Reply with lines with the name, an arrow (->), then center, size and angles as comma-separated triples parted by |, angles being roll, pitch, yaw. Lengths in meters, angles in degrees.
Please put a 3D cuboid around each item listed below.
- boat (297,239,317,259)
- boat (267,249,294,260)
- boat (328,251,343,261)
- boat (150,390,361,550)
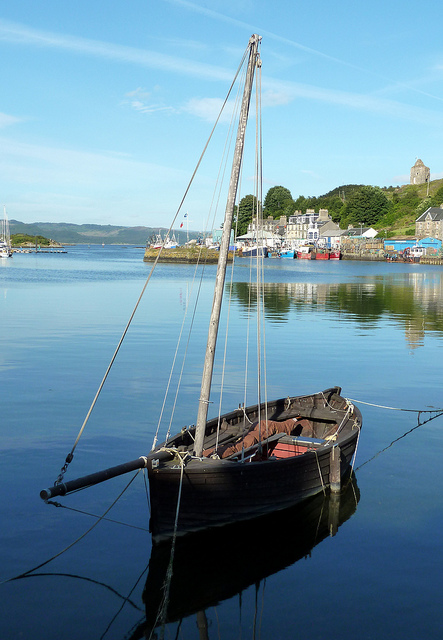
boat -> 25.855, -19.583, 163.999 | 4.848, 3.273, 8.549 | 4, 28, 12
boat -> 18.045, -19.693, 165.276 | 3.045, 3.315, 9.267 | -6, 7, -38
boat -> 32.100, -17.893, 154.598 | 1.627, 2.496, 7.096 | -1, 3, 17
boat -> 1.148, 2.663, 11.874 | 3.094, 2.303, 6.455 | 4, 8, 20
